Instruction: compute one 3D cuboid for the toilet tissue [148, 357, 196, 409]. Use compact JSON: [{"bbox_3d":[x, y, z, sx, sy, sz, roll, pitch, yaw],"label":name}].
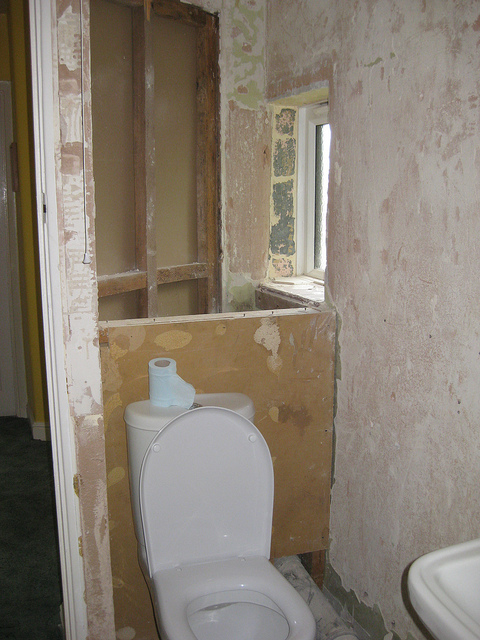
[{"bbox_3d":[-0.168,0.122,1.298,0.079,0.141,0.113,1,15,-8],"label":"toilet tissue"}]
